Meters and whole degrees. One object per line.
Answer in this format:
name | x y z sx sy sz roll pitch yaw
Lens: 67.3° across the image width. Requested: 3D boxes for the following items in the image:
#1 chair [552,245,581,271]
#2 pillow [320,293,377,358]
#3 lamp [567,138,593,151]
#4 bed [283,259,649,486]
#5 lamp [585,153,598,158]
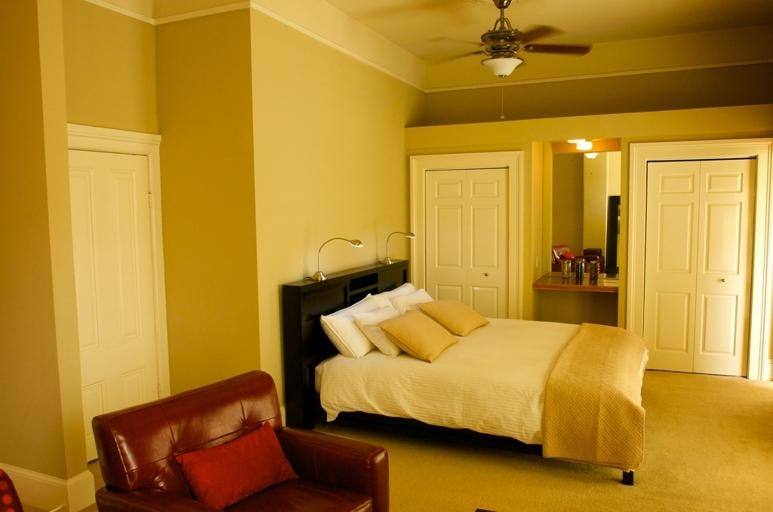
chair | 2.567 -0.009 8.229 0.319 0.355 0.560 2 3 33
pillow | -0.340 0.739 5.772 0.412 0.364 0.948 19 12 15
lamp | 2.497 -1.446 7.548 0.236 0.079 0.216 -2 6 -26
bed | 0.798 0.837 5.561 2.648 1.078 2.078 0 4 21
lamp | 2.754 -1.350 7.809 0.097 0.024 0.086 -1 -17 4
